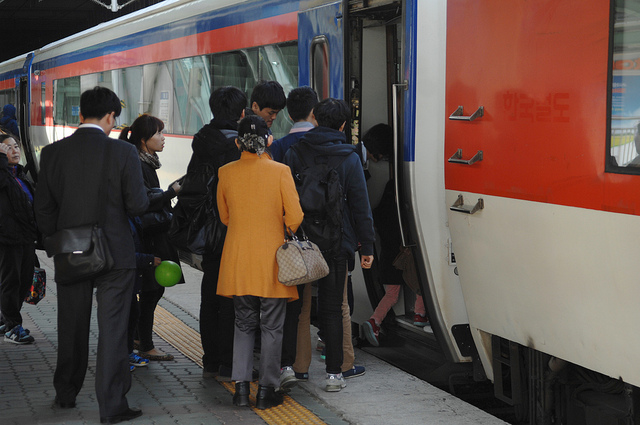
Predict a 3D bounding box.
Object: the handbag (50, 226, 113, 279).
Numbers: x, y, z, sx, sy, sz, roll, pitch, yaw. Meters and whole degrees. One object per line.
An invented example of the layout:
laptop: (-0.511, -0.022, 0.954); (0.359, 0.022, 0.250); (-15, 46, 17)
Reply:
handbag: (-1.680, 0.285, 3.670); (0.448, 0.382, 0.115); (2, 6, 12)

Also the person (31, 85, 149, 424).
person: (-1.638, 0.292, 3.781); (0.746, 2.409, 0.397); (3, 6, 24)

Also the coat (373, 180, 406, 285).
coat: (0.670, 0.180, 5.045); (0.264, 0.989, 0.289); (0, 5, -5)

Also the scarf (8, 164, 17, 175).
scarf: (-3.114, -0.439, 5.288); (0.062, 0.076, 0.080); (-17, -10, -32)

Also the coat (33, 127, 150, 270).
coat: (-1.663, -0.086, 3.864); (0.748, 1.031, 0.507); (-2, -5, -4)

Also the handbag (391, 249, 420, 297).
handbag: (0.822, 0.562, 4.856); (0.143, 0.404, 0.397); (-2, 14, -10)

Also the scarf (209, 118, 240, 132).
scarf: (-0.795, -0.732, 4.329); (0.164, 0.056, 0.166); (1, 5, -32)

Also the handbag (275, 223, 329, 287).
handbag: (-0.154, 0.260, 3.945); (0.245, 0.604, 0.386); (-24, -18, 21)

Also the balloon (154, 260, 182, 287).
balloon: (-1.276, 0.521, 4.393); (0.215, 0.257, 0.215); (-5, 14, -38)

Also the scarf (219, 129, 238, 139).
scarf: (-0.751, -0.650, 4.275); (0.076, 0.086, 0.066); (-42, -9, 39)

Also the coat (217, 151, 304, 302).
coat: (-0.470, 0.094, 3.884); (0.665, 1.102, 0.249); (2, 6, 20)

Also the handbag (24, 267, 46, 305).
handbag: (-3.108, 0.806, 5.644); (0.418, 0.406, 0.139); (-1, -11, 30)

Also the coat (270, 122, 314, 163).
coat: (-0.197, -0.610, 4.525); (0.120, 0.347, 0.350); (21, -3, -27)
